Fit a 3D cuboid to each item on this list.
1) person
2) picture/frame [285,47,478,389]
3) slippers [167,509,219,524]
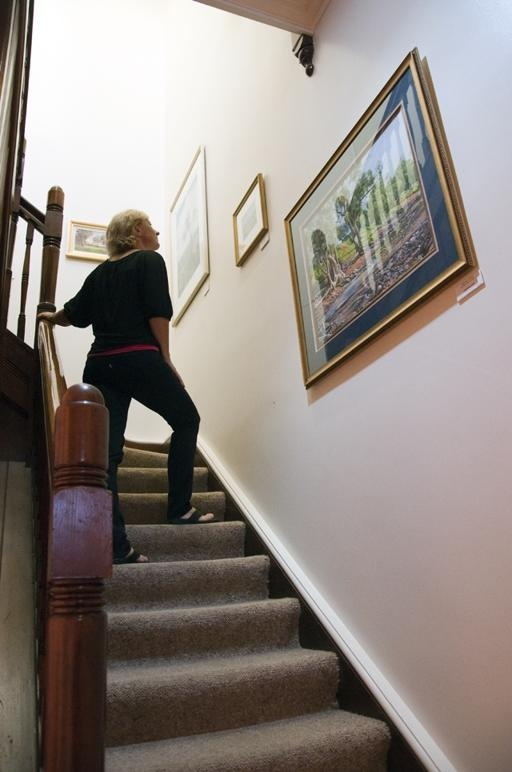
[{"bbox_3d":[-0.489,-0.033,2.079,0.678,1.260,0.612,13,16,40],"label":"person"},{"bbox_3d":[0.373,-0.489,1.583,0.044,0.854,0.886,5,-30,-22],"label":"picture/frame"},{"bbox_3d":[-0.251,0.528,2.174,0.139,0.060,0.085,-1,-4,-20],"label":"slippers"}]
